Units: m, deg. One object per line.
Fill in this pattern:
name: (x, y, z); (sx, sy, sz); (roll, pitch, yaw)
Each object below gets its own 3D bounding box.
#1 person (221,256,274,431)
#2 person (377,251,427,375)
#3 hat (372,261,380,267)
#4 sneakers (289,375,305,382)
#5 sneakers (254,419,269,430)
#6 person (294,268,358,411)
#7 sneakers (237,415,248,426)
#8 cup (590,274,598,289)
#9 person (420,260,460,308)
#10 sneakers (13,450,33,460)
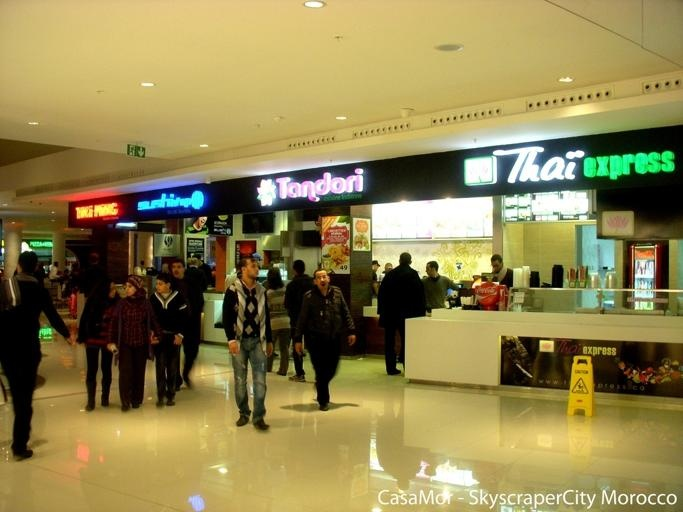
person: (-1.031, 0.939, 6.023); (0.508, 1.783, 0.559); (-2, 0, -8)
person: (0.960, 0.930, 8.883); (0.752, 1.968, 0.499); (-2, 0, 3)
hat: (0.777, 0.171, 12.655); (0.160, 0.084, 0.112); (-7, 6, -37)
sneakers: (-0.684, 1.875, 8.404); (0.238, 0.102, 0.095); (4, -6, 0)
sneakers: (-0.867, 1.796, 5.830); (0.184, 0.137, 0.072); (-4, -11, 25)
person: (-0.225, 1.023, 6.838); (0.777, 1.687, 0.460); (-2, 0, -18)
sneakers: (-1.112, 1.813, 6.019); (0.134, 0.130, 0.065); (16, -24, -36)
cup: (3.393, 0.319, 7.367); (0.092, 0.210, 0.131); (-2, 0, 33)
person: (1.825, 0.530, 10.137); (0.716, 1.082, 0.377); (-2, -21, -20)
sneakers: (-2.880, 1.795, 4.962); (0.151, 0.083, 0.129); (-2, 1, -31)
